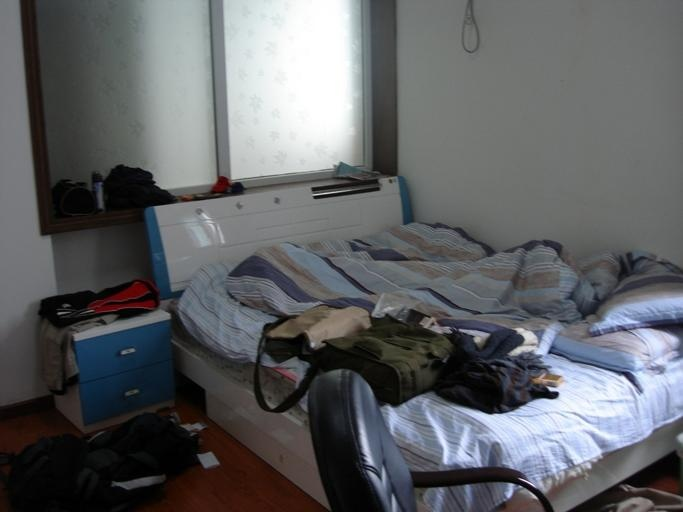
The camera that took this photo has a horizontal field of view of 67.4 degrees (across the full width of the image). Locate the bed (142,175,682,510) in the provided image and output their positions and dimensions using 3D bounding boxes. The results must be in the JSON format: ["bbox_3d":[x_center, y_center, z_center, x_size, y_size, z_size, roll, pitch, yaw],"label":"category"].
[{"bbox_3d":[0.055,0.283,2.731,1.776,1.049,2.327,-17,27,-34],"label":"bed"}]

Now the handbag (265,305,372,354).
[{"bbox_3d":[-0.117,0.334,2.519,0.289,0.088,0.273,-20,15,-38],"label":"handbag"}]

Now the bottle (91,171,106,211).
[{"bbox_3d":[-1.497,-0.394,3.154,0.076,0.226,0.131,-13,22,-24],"label":"bottle"}]

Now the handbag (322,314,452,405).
[{"bbox_3d":[0.252,0.406,2.129,0.354,0.117,0.357,16,25,41],"label":"handbag"}]
